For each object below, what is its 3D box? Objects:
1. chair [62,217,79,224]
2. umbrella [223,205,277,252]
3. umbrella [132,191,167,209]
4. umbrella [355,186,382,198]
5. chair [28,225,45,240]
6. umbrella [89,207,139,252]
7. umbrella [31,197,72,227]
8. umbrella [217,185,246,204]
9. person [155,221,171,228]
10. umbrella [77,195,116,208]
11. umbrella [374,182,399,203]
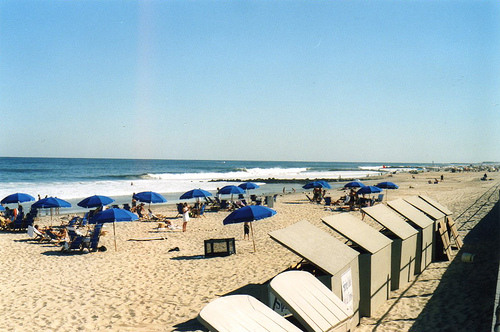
[{"bbox_3d":[-9.250,2.803,22.584,0.774,0.409,0.890,-6,10,-23],"label":"chair"},{"bbox_3d":[0.032,2.502,17.935,2.086,1.816,2.120,-4,-3,-26],"label":"umbrella"},{"bbox_3d":[-5.287,1.790,23.643,0.932,0.616,0.947,-4,-10,37],"label":"umbrella"},{"bbox_3d":[7.503,1.634,27.838,1.202,0.414,1.165,-3,-7,13],"label":"umbrella"},{"bbox_3d":[-9.465,2.896,19.457,0.550,0.697,0.497,-8,37,-31],"label":"chair"},{"bbox_3d":[-5.588,2.399,17.952,1.286,1.274,1.296,-3,-7,0],"label":"umbrella"},{"bbox_3d":[-9.765,2.201,21.604,1.789,1.432,1.759,5,1,11],"label":"umbrella"},{"bbox_3d":[-1.220,1.890,29.168,1.582,1.018,1.484,0,-5,6],"label":"umbrella"},{"bbox_3d":[-4.317,2.935,22.102,0.393,0.229,0.763,2,10,22],"label":"person"},{"bbox_3d":[-8.332,1.935,23.782,1.527,0.521,1.475,-1,3,3],"label":"umbrella"},{"bbox_3d":[9.105,1.759,29.456,1.395,1.083,1.378,2,-4,2],"label":"umbrella"}]
